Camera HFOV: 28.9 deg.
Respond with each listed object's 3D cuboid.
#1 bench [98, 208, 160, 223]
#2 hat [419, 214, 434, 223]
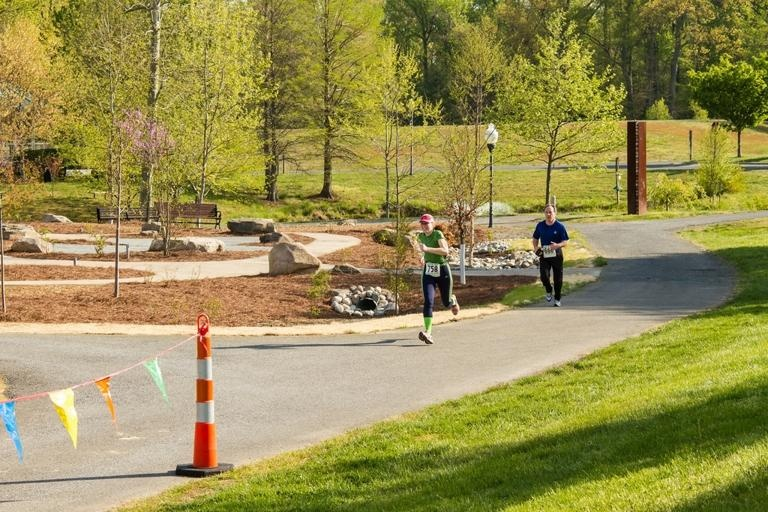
[{"bbox_3d":[-14.334,-2.426,83.262,3.303,0.869,2.225,-2,3,-11],"label":"bench"},{"bbox_3d":[1.849,-1.585,60.360,0.437,0.268,0.581,-1,-5,18],"label":"hat"}]
